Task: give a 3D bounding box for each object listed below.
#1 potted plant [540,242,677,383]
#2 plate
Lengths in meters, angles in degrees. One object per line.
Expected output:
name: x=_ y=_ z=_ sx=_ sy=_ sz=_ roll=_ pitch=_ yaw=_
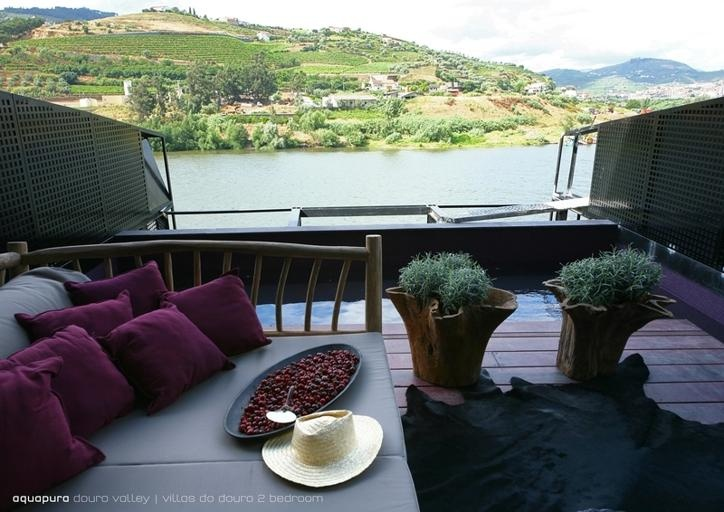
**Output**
potted plant: x=1.408 y=0.353 z=2.743 sx=0.656 sy=0.727 sz=0.407 roll=3 pitch=24 yaw=17
plate: x=-0.329 y=0.587 z=2.054 sx=0.290 sy=0.053 sz=0.573 roll=16 pitch=26 yaw=32
